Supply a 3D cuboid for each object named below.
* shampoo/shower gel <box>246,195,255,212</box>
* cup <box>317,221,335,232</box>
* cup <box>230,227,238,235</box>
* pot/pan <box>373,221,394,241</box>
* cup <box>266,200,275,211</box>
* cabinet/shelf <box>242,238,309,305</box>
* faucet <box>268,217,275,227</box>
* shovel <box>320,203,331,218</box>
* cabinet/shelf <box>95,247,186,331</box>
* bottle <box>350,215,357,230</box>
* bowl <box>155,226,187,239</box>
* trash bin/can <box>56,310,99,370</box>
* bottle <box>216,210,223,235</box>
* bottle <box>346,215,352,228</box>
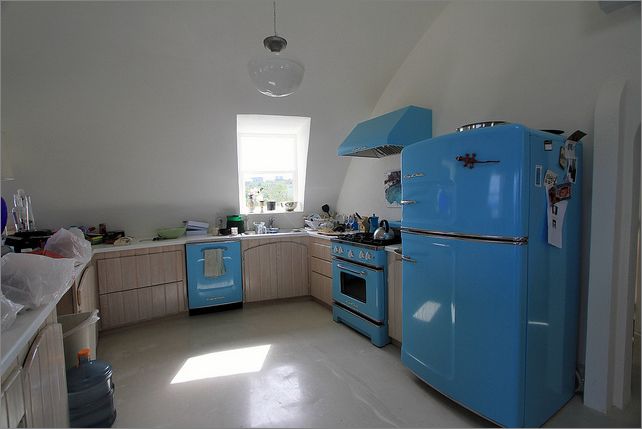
[{"bbox_3d":[-1.076,-0.169,6.278,0.102,0.298,0.074,-2,4,-9],"label":"shampoo/shower gel"},{"bbox_3d":[0.078,0.181,6.197,0.158,0.115,0.160,1,2,0],"label":"cup"},{"bbox_3d":[-1.220,0.242,5.801,0.092,0.162,0.095,0,-3,0],"label":"cup"},{"bbox_3d":[0.720,0.189,4.816,0.246,0.230,0.136,0,4,21],"label":"pot/pan"},{"bbox_3d":[-0.774,-0.134,6.358,0.133,0.104,0.133,-1,-1,0],"label":"cup"},{"bbox_3d":[-0.646,0.804,5.971,0.968,0.854,0.344,-1,-5,-11],"label":"cabinet/shelf"},{"bbox_3d":[-0.767,0.133,6.359,0.099,0.171,0.178,-1,4,-2],"label":"faucet"},{"bbox_3d":[0.073,-0.054,6.585,0.150,0.215,0.200,-1,4,1],"label":"shovel"},{"bbox_3d":[-2.201,0.934,5.456,1.064,0.961,0.653,-9,-6,6],"label":"cabinet/shelf"},{"bbox_3d":[0.483,0.121,6.016,0.098,0.212,0.246,-1,4,1],"label":"bottle"},{"bbox_3d":[-2.055,0.258,5.663,0.367,0.137,0.280,-3,4,-23],"label":"bowl"},{"bbox_3d":[-2.159,1.061,3.743,0.460,0.501,0.578,0,0,-28],"label":"trash bin/can"},{"bbox_3d":[-1.480,0.122,5.986,0.118,0.293,0.362,-2,4,-13],"label":"bottle"},{"bbox_3d":[0.411,0.114,6.088,0.052,0.161,0.116,3,-2,-18],"label":"bottle"}]
